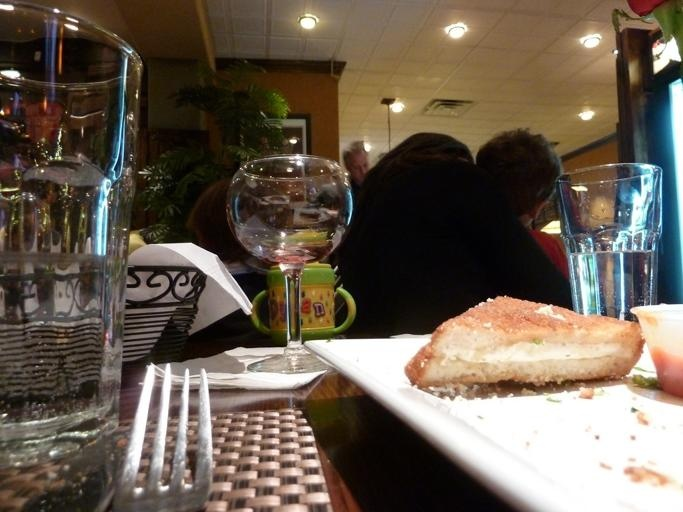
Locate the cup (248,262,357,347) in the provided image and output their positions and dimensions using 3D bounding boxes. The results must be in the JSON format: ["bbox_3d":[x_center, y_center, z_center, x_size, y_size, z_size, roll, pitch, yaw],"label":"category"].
[{"bbox_3d":[-0.074,0.105,0.943,0.202,0.161,0.137,-2,-5,6],"label":"cup"}]

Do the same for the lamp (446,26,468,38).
[{"bbox_3d":[0.926,-1.800,3.886,0.156,0.047,0.198,12,3,14],"label":"lamp"}]
